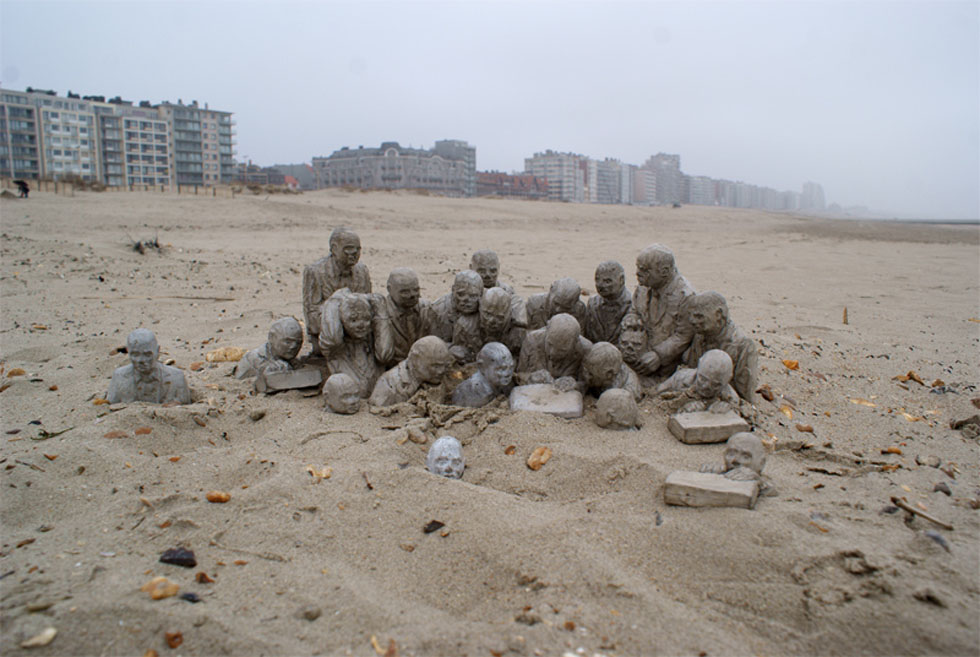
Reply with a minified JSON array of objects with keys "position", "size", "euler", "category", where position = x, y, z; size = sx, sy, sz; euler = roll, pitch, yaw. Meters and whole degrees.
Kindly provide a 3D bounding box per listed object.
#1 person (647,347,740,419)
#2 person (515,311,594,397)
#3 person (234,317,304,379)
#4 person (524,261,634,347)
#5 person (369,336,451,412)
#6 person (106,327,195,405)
[{"position":[2.076,0.536,7.389],"size":[0.817,0.653,0.642],"euler":[7,11,29],"category":"person"},{"position":[0.700,0.248,7.802],"size":[0.874,0.944,0.523],"euler":[5,32,2],"category":"person"},{"position":[-2.555,0.250,8.454],"size":[0.477,0.806,0.967],"euler":[-6,13,-37],"category":"person"},{"position":[1.111,-0.300,9.254],"size":[1.511,1.154,0.607],"euler":[-6,17,-13],"category":"person"},{"position":[-0.829,0.482,7.719],"size":[0.641,0.614,0.990],"euler":[14,27,26],"category":"person"},{"position":[-3.582,0.424,7.644],"size":[0.847,0.802,0.435],"euler":[1,6,-10],"category":"person"}]
